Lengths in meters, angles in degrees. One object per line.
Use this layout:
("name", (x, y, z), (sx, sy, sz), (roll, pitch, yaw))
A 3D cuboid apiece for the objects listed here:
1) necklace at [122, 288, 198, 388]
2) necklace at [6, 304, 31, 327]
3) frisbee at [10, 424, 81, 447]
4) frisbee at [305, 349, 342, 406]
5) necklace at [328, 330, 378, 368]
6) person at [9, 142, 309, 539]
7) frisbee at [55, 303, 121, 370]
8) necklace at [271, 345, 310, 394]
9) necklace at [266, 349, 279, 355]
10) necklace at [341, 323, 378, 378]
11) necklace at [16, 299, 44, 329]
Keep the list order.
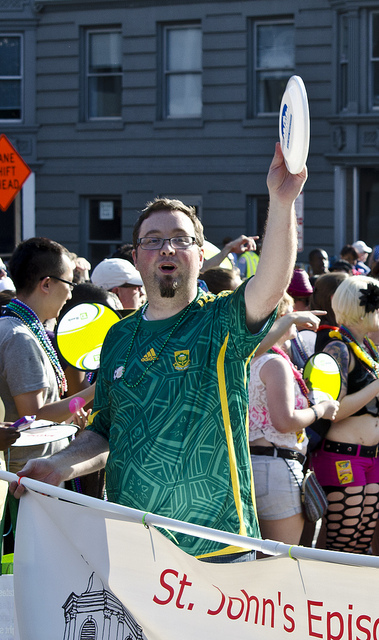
("necklace", (-0.095, 0.098, 3.770), (0.126, 0.422, 0.018), (3, -36, 40))
("necklace", (-0.711, -0.018, 4.707), (0.103, 0.086, 0.044), (1, 2, 3))
("frisbee", (-0.491, 0.395, 3.837), (0.220, 0.077, 0.284), (0, 2, -12))
("frisbee", (0.611, 0.267, 5.128), (0.218, 0.338, 0.044), (-2, 0, 3))
("necklace", (0.780, 0.113, 5.383), (0.192, 0.057, 0.146), (48, 23, 8))
("person", (-0.101, 0.423, 3.664), (0.922, 1.879, 0.420), (-2, -17, 9))
("frisbee", (-0.405, 0.076, 4.616), (0.299, 0.331, 0.073), (11, -33, -5))
("necklace", (0.448, 0.200, 5.018), (0.217, 0.075, 0.166), (40, 20, -27))
("necklace", (0.355, 0.133, 4.873), (0.040, 0.017, 0.037), (1, 2, 4))
("necklace", (0.839, 0.138, 5.456), (0.042, 0.258, 0.173), (-38, -22, 22))
("necklace", (-0.673, -0.023, 4.830), (0.107, 0.026, 0.103), (51, 1, 34))
